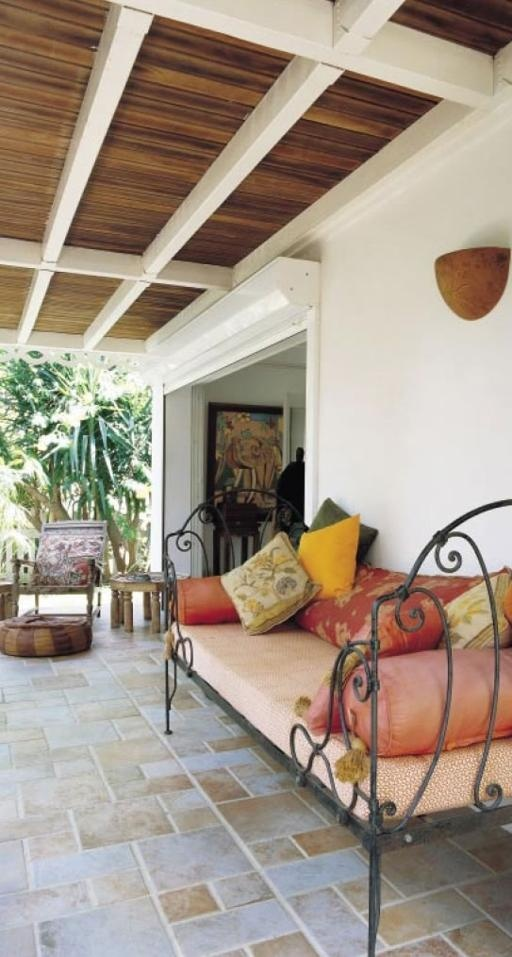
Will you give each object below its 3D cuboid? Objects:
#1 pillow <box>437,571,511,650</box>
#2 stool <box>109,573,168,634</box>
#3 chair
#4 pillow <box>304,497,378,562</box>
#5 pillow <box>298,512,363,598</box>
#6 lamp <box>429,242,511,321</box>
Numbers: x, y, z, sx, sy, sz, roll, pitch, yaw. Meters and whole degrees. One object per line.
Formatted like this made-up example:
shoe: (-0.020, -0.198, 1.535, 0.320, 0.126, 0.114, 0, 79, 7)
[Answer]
pillow: (0.559, 0.344, 1.738, 0.051, 0.180, 0.168, 34, -50, -23)
stool: (-1.040, 1.011, 5.619, 0.419, 0.446, 0.495, 13, -4, 24)
chair: (-1.675, 0.805, 5.933, 0.657, 0.932, 1.088, 2, -6, -11)
pillow: (0.362, 0.305, 3.200, 0.087, 0.326, 0.329, 6, 20, -28)
pillow: (0.307, 0.362, 3.004, 0.168, 0.322, 0.365, -9, -5, -28)
lamp: (0.699, -0.624, 2.191, 0.202, 0.214, 0.150, 3, 0, 26)
